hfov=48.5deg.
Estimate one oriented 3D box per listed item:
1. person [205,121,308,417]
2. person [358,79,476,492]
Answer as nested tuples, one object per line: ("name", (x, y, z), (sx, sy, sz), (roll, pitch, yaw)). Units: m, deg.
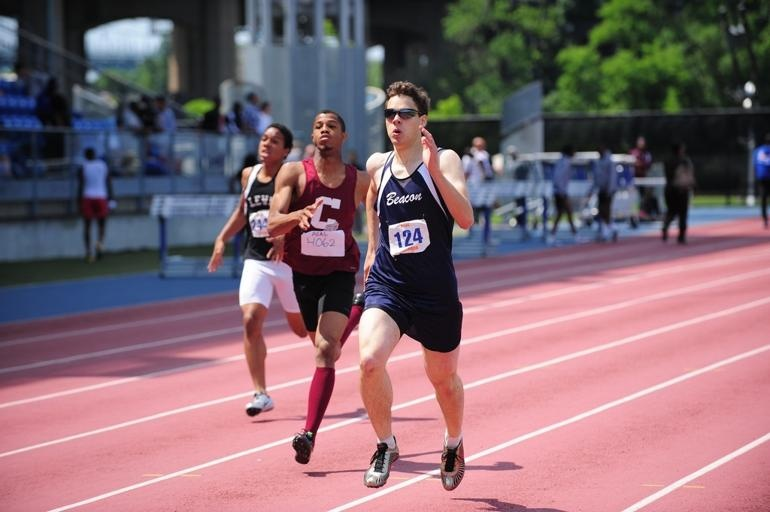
("person", (-1.280, 0.125, 8.399), (0.957, 2.721, 1.246), (1, 1, 36))
("person", (0.218, 0.167, 6.641), (1.133, 2.825, 1.114), (0, 1, 42))
